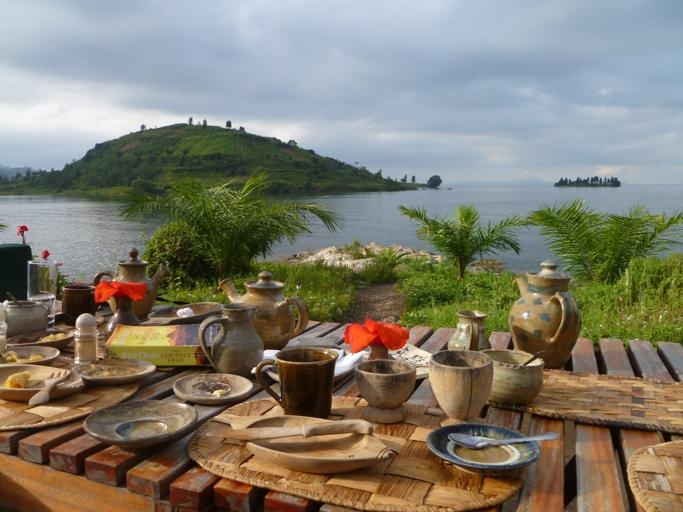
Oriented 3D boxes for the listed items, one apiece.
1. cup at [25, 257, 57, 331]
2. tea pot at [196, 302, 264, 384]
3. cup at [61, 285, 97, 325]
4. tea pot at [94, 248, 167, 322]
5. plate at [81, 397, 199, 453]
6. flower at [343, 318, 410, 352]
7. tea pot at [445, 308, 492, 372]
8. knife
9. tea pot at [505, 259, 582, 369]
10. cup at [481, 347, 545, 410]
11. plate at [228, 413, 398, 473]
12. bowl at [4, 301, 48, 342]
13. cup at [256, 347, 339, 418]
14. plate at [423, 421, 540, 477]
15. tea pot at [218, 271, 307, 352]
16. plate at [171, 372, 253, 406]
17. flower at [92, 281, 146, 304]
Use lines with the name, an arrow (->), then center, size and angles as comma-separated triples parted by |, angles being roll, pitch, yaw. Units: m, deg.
cup -> -1.743, 0.225, 2.660 | 0.170, 0.355, 0.154 | -2, -4, 0
tea pot -> -0.515, 0.379, 2.000 | 0.252, 0.277, 0.336 | 6, 4, 36
cup -> -1.516, 0.298, 2.748 | 0.262, 0.205, 0.158 | 0, 0, 26
tea pot -> -1.246, 0.165, 2.727 | 0.423, 0.361, 0.267 | 3, 0, -33
plate -> -0.623, 0.530, 1.444 | 0.319, 0.058, 0.294 | 1, 5, -15
flower -> 0.144, 0.311, 1.839 | 0.199, 0.065, 0.185 | 0, 3, 18
tea pot -> 0.607, 0.385, 2.181 | 0.208, 0.206, 0.257 | 3, 7, 8
knife -> -0.150, 0.534, 1.393 | 0.652, 0.058, 0.082 | -2, 0, -1
tea pot -> 1.104, 0.304, 2.518 | 0.429, 0.480, 0.513 | 3, 6, 1
cup -> 0.662, 0.469, 1.845 | 0.269, 0.134, 0.239 | 1, 6, 21
plate -> -0.106, 0.528, 1.342 | 0.440, 0.052, 0.182 | 1, 5, 17
bowl -> -1.628, 0.336, 2.402 | 0.220, 0.142, 0.196 | 0, -1, -28
cup -> -0.163, 0.451, 1.646 | 0.325, 0.176, 0.213 | -1, 2, 6
plate -> 0.412, 0.570, 1.352 | 0.305, 0.041, 0.296 | 1, -2, -44
tea pot -> -0.385, 0.273, 2.378 | 0.529, 0.325, 0.320 | 8, 15, 28
plate -> -0.505, 0.506, 1.785 | 0.245, 0.046, 0.242 | 25, -48, -26
flower -> -1.126, 0.172, 2.348 | 0.193, 0.064, 0.164 | 2, 0, -19
